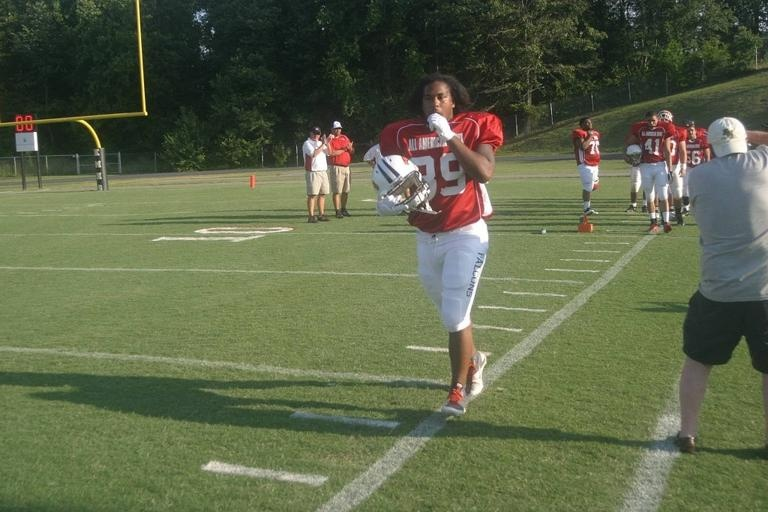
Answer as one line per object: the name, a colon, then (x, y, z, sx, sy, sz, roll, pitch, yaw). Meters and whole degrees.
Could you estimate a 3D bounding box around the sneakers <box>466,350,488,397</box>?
sneakers: (0.820, 1.032, 6.536, 0.196, 0.420, 0.148, 8, -12, -15)

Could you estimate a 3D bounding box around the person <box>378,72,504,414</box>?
person: (0.517, -0.125, 6.312, 0.803, 2.796, 0.839, 7, 14, 40)

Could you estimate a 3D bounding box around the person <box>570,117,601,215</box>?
person: (4.312, -1.900, 15.812, 0.528, 2.028, 1.348, 1, 11, 15)

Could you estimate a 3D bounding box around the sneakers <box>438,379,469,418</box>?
sneakers: (0.592, 1.181, 6.111, 0.146, 0.234, 0.229, 5, 12, 33)

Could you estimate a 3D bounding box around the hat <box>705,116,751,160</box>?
hat: (2.673, -0.963, 5.762, 0.314, 0.208, 0.435, -12, 31, 9)

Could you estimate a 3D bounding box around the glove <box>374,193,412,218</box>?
glove: (0.072, -0.420, 6.170, 0.207, 0.188, 0.160, 35, 13, 13)

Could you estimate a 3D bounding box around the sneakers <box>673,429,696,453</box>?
sneakers: (2.341, 1.441, 5.741, 0.088, 0.080, 0.197, -6, 8, 11)

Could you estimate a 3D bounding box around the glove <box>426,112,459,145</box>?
glove: (0.452, -1.039, 6.013, 0.176, 0.236, 0.284, -5, 11, -17)
